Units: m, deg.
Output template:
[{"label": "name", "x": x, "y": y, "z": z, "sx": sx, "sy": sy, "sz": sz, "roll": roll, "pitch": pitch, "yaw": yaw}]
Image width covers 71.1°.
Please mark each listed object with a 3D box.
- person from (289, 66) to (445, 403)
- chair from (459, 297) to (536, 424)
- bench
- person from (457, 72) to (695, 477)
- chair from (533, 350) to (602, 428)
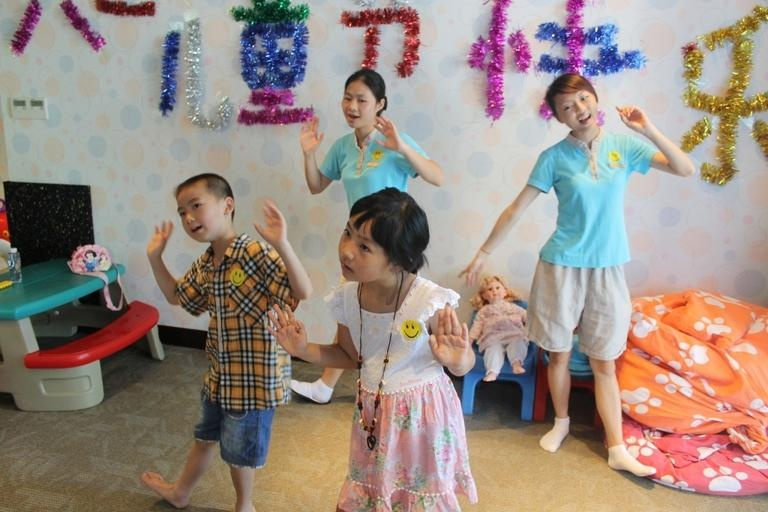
[{"label": "person", "x": -0.081, "y": -0.118, "z": 3.144, "sx": 0.770, "sy": 1.846, "sz": 0.678, "roll": 0, "pitch": 5, "yaw": 16}, {"label": "chair", "x": 0.764, "y": 0.674, "z": 3.556, "sx": 0.541, "sy": 0.806, "sz": 0.633, "roll": 1, "pitch": 5, "yaw": 12}, {"label": "bench", "x": -1.923, "y": 0.711, "z": 3.564, "sx": 0.469, "sy": 0.370, "sz": 1.062, "roll": 6, "pitch": 19, "yaw": 12}, {"label": "person", "x": 1.128, "y": 0.104, "z": 3.059, "sx": 0.971, "sy": 2.104, "sz": 0.372, "roll": 7, "pitch": 13, "yaw": 24}, {"label": "chair", "x": 1.068, "y": 0.814, "z": 3.343, "sx": 0.419, "sy": 0.364, "sz": 0.423, "roll": -1, "pitch": 5, "yaw": -4}]
